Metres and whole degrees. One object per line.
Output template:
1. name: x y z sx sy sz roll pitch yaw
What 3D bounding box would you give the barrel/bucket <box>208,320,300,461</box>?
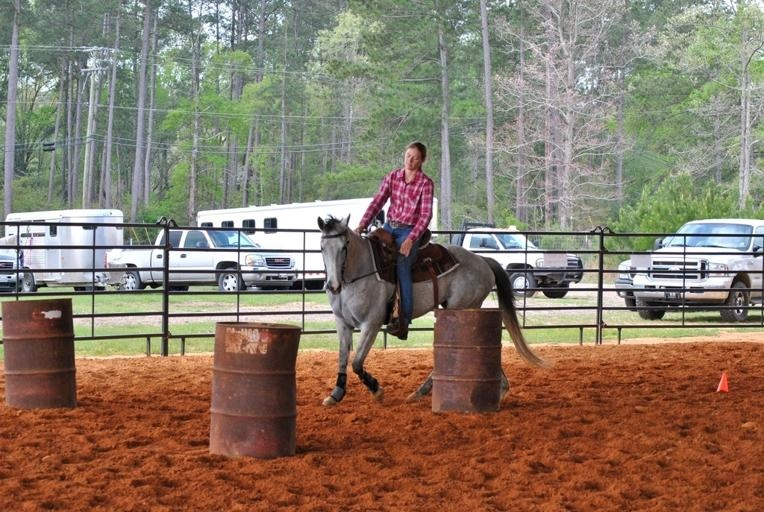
1. barrel/bucket: -3.880 4.006 36.447 2.603 3.995 2.549 2 2 0

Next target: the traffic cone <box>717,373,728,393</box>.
1. traffic cone: 10.736 3.940 37.759 0.343 0.553 0.922 1 4 16

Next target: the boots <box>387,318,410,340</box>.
1. boots: 0.462 2.263 37.615 0.788 0.735 0.475 0 3 -4

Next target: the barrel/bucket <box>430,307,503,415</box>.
1. barrel/bucket: 2.468 3.158 37.341 1.853 3.344 1.835 1 0 0
